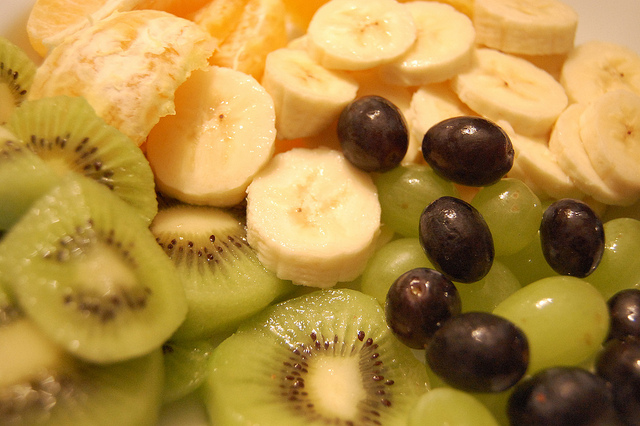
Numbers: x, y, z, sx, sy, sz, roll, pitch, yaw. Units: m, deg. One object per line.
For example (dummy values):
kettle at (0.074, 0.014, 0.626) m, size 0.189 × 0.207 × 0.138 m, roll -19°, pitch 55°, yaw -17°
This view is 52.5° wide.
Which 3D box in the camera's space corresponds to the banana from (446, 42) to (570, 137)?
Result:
banana at (0.536, -0.345, 1.847) m, size 0.318 × 0.084 × 0.238 m, roll 37°, pitch 65°, yaw 12°

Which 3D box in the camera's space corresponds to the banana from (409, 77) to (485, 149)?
banana at (0.323, -0.318, 1.853) m, size 0.176 × 0.319 × 0.171 m, roll -15°, pitch 110°, yaw -17°

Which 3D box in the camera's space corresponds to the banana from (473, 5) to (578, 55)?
banana at (0.595, -0.540, 1.886) m, size 0.299 × 0.105 × 0.164 m, roll 3°, pitch 63°, yaw -5°
